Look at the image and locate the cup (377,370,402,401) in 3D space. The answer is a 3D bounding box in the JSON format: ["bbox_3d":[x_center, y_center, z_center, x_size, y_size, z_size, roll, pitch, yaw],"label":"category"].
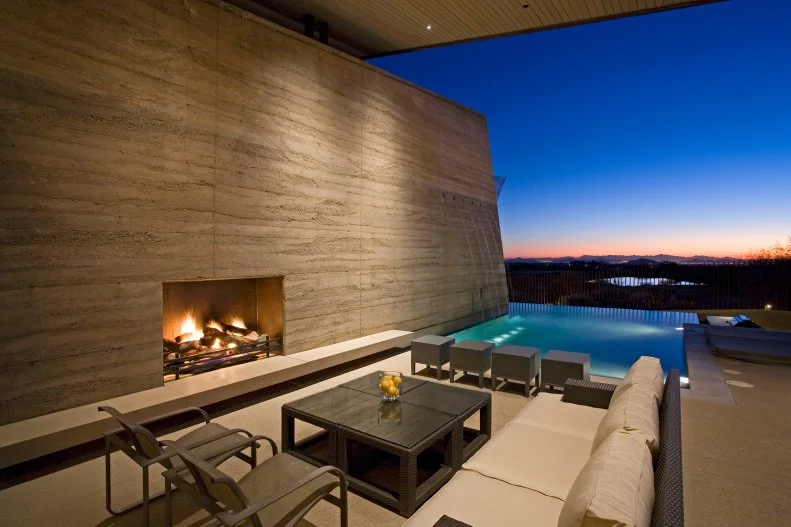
[{"bbox_3d":[-0.044,1.322,4.726,0.296,0.291,0.271,0,0,0],"label":"cup"}]

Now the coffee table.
[{"bbox_3d":[0.145,1.517,4.469,1.526,0.514,1.517,3,5,37],"label":"coffee table"}]
